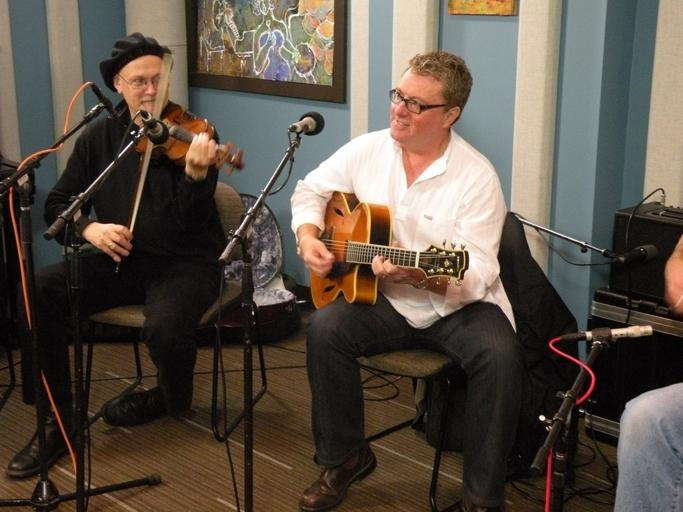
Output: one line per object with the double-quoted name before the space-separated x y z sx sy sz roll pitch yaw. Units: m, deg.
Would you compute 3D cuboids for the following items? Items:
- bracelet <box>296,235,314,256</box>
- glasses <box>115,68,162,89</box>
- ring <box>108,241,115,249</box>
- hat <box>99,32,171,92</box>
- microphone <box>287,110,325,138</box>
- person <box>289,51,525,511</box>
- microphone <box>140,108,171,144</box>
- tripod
"bracelet" -0.133 -0.048 2.511 0.021 0.064 0.089 -8 1 -36
"glasses" -0.867 -0.747 2.700 0.203 0.076 0.071 9 12 21
"ring" -0.922 -0.047 2.559 0.017 0.045 0.077 -16 8 -25
"hat" -0.913 -0.868 2.699 0.112 0.308 0.315 40 39 18
"microphone" -0.125 -0.472 2.266 0.073 0.086 0.139 6 19 27
"person" 0.234 0.092 2.425 0.921 1.711 0.555 6 11 15
"microphone" -0.648 -0.442 2.202 0.093 0.111 0.140 -1 12 -19
"tripod" -1.066 0.548 2.631 0.527 0.936 0.548 7 27 3
